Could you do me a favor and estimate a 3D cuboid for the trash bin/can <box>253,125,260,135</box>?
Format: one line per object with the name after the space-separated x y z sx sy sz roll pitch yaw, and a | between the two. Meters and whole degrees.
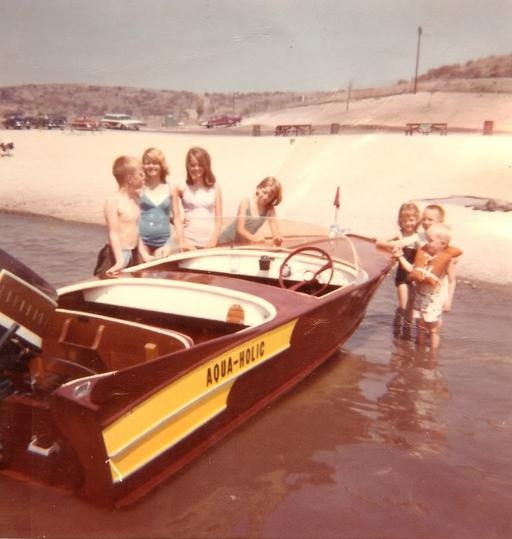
-0.007 -4.856 16.930 0.250 0.369 0.293 1 14 -4 | trash bin/can

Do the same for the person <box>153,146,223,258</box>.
-0.461 -0.461 4.110 0.445 1.040 0.343 26 48 30 | person
